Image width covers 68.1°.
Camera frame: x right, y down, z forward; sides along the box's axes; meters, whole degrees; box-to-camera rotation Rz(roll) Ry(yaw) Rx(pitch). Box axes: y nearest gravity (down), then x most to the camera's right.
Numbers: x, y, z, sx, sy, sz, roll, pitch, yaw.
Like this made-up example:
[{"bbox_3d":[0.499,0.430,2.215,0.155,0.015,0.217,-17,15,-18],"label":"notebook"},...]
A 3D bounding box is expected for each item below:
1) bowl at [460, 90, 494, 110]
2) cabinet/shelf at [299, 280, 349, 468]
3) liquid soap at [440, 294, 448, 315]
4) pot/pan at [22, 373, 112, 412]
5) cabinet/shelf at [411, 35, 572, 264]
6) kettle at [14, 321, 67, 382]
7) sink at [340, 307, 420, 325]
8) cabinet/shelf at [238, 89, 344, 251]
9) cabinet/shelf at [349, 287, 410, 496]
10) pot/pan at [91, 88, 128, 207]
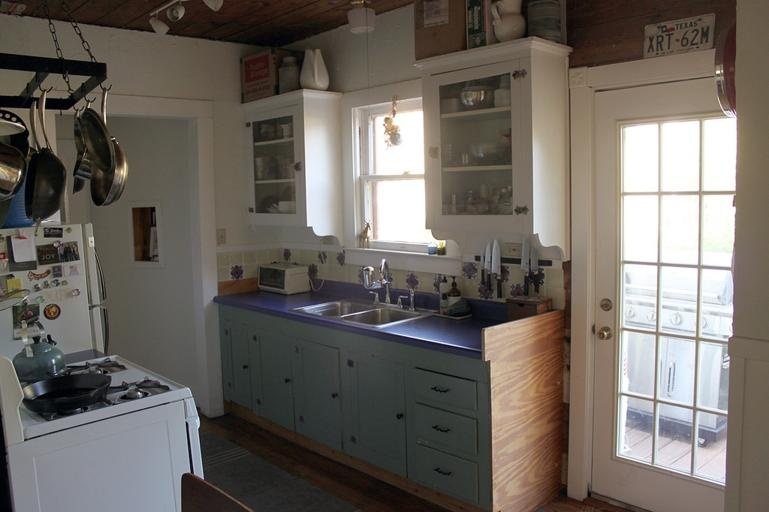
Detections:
[{"bbox_3d":[0.589,-0.979,3.602,0.143,0.074,0.138,1,2,0],"label":"bowl"},{"bbox_3d":[-0.480,0.944,4.181,0.487,0.865,0.149,7,18,42],"label":"cabinet/shelf"},{"bbox_3d":[0.427,0.354,4.091,0.043,0.145,0.099,2,1,7],"label":"liquid soap"},{"bbox_3d":[-1.557,0.683,2.818,0.385,0.111,0.320,-13,16,-29],"label":"pot/pan"},{"bbox_3d":[0.680,-0.655,3.676,0.954,1.333,0.472,1,15,25],"label":"cabinet/shelf"},{"bbox_3d":[-1.797,0.525,2.969,0.197,0.324,0.323,-2,-4,-14],"label":"kettle"},{"bbox_3d":[-0.073,0.471,4.330,0.306,0.116,0.241,-6,8,-44],"label":"sink"},{"bbox_3d":[-0.793,-0.719,4.837,0.885,1.280,0.466,3,16,30],"label":"cabinet/shelf"},{"bbox_3d":[-0.045,1.032,3.849,0.502,0.952,0.138,5,17,38],"label":"cabinet/shelf"},{"bbox_3d":[-1.287,-0.510,2.673,0.082,0.546,0.308,-10,4,-30],"label":"pot/pan"}]
